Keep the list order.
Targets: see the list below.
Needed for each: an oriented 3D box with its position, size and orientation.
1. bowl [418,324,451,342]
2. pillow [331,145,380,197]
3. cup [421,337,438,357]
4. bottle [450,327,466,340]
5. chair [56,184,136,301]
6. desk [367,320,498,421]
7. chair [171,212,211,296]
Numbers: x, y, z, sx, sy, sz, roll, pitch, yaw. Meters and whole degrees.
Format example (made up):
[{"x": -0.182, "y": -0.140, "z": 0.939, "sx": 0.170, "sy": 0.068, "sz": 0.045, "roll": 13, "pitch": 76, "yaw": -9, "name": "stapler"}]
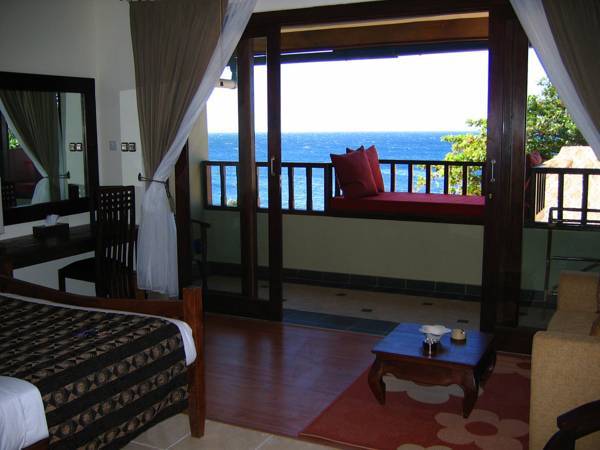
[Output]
[{"x": 0.824, "y": 0.669, "z": 2.874, "sx": 0.119, "sy": 0.053, "sz": 0.122, "roll": -1, "pitch": 9, "yaw": 0, "name": "bowl"}, {"x": 0.757, "y": -0.648, "z": 6.035, "sx": 0.345, "sy": 0.649, "sz": 0.693, "roll": 10, "pitch": 19, "yaw": 36, "name": "pillow"}, {"x": 0.787, "y": 0.733, "z": 2.790, "sx": 0.077, "sy": 0.087, "sz": 0.082, "roll": -2, "pitch": 4, "yaw": 0, "name": "cup"}, {"x": 1.015, "y": 0.705, "z": 2.969, "sx": 0.071, "sy": 0.047, "sz": 0.076, "roll": -1, "pitch": 6, "yaw": 0, "name": "bottle"}, {"x": -1.848, "y": 0.330, "z": 4.252, "sx": 0.473, "sy": 1.409, "sz": 0.476, "roll": 8, "pitch": 13, "yaw": 19, "name": "chair"}, {"x": 0.852, "y": 0.886, "z": 2.926, "sx": 0.711, "sy": 0.456, "sz": 0.607, "roll": 3, "pitch": 10, "yaw": 25, "name": "desk"}, {"x": -1.124, "y": 0.274, "z": 4.639, "sx": 0.357, "sy": 0.710, "sz": 0.393, "roll": 4, "pitch": 2, "yaw": -19, "name": "chair"}]
